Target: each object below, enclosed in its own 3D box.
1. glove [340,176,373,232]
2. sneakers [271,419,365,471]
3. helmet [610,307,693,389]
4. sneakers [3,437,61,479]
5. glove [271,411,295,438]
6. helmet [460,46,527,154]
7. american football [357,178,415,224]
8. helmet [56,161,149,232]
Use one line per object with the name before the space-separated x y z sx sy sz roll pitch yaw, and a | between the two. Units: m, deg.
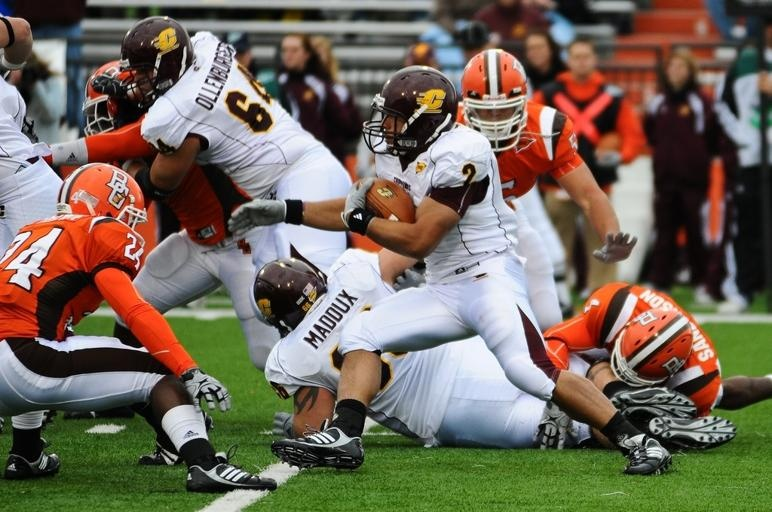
glove | -0.143 -0.256 5.915 0.101 0.257 0.194 -10 14 2
sneakers | -0.317 0.958 5.777 0.489 0.185 0.277 7 41 -2
helmet | 1.387 0.453 6.195 0.430 0.334 0.337 -28 5 5
sneakers | -1.789 1.030 5.891 0.323 0.227 0.114 -3 3 -20
glove | -0.593 0.960 6.593 0.137 0.137 0.060 -6 -28 15
helmet | 0.627 -0.884 6.496 0.369 0.474 0.548 -1 35 5
american football | 0.017 -0.282 5.926 0.242 0.146 0.181 26 15 -38
helmet | -1.423 -0.278 5.828 0.385 0.324 0.303 -13 6 -26
